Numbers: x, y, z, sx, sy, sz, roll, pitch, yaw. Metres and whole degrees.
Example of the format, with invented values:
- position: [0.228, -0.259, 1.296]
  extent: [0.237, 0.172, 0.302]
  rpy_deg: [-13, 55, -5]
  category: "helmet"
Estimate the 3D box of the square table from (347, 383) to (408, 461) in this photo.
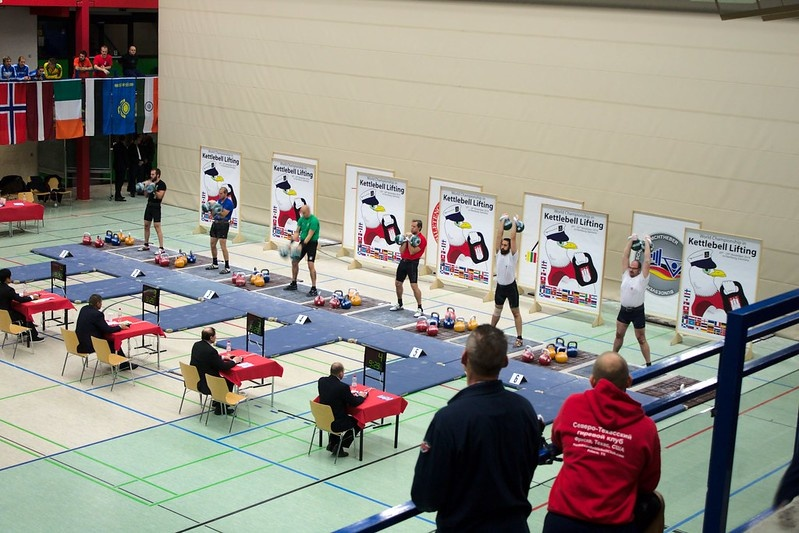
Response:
- position: [-0.539, 2.577, 12.680]
  extent: [1.099, 0.886, 1.119]
  rpy_deg: [-8, 15, -42]
  category: "square table"

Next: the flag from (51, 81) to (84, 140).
- position: [-11.990, -5.645, 25.736]
  extent: [0.286, 2.000, 1.112]
  rpy_deg: [9, 16, 35]
  category: "flag"

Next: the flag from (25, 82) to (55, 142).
- position: [-12.692, -5.456, 25.120]
  extent: [0.215, 1.898, 1.053]
  rpy_deg: [10, 16, 38]
  category: "flag"

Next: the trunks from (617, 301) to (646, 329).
- position: [4.958, 1.004, 15.300]
  extent: [0.726, 0.707, 0.434]
  rpy_deg: [4, 4, 32]
  category: "trunks"

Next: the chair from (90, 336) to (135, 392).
- position: [-5.959, 2.023, 14.671]
  extent: [0.695, 1.256, 0.828]
  rpy_deg: [12, 17, 27]
  category: "chair"

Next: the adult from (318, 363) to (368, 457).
- position: [-0.996, 2.462, 12.223]
  extent: [0.778, 1.724, 0.531]
  rpy_deg: [-2, 13, -7]
  category: "adult"

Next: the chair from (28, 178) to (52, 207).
- position: [-13.913, -2.867, 27.481]
  extent: [1.010, 1.234, 0.957]
  rpy_deg: [18, 19, 42]
  category: "chair"

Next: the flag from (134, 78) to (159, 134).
- position: [-9.941, -6.318, 27.983]
  extent: [0.388, 2.062, 0.951]
  rpy_deg: [10, 17, 39]
  category: "flag"

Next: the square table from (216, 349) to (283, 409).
- position: [-2.955, 1.961, 13.835]
  extent: [0.974, 0.877, 1.266]
  rpy_deg: [-8, 17, -38]
  category: "square table"

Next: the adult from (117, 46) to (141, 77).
- position: [-10.751, -8.113, 28.324]
  extent: [0.621, 1.215, 2.381]
  rpy_deg: [-5, 15, -20]
  category: "adult"

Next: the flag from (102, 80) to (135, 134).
- position: [-10.649, -6.010, 26.945]
  extent: [0.409, 1.960, 1.411]
  rpy_deg: [8, 15, 32]
  category: "flag"

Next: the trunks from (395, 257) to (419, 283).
- position: [0.190, 0.098, 18.515]
  extent: [0.639, 0.625, 0.372]
  rpy_deg: [7, 1, 28]
  category: "trunks"

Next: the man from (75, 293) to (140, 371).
- position: [-5.994, 1.073, 14.793]
  extent: [1.356, 1.825, 0.849]
  rpy_deg: [-16, 38, -39]
  category: "man"

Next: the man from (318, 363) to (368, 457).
- position: [-0.996, 2.462, 12.220]
  extent: [0.778, 1.724, 0.525]
  rpy_deg: [-2, 13, -7]
  category: "man"

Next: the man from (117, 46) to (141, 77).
- position: [-10.850, -8.203, 28.586]
  extent: [0.626, 1.263, 2.965]
  rpy_deg: [-5, 15, -20]
  category: "man"

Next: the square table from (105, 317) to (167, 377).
- position: [-5.801, 1.793, 15.188]
  extent: [0.972, 0.635, 1.133]
  rpy_deg: [14, 18, 40]
  category: "square table"

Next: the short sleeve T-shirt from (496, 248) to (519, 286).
- position: [2.459, 0.024, 16.433]
  extent: [0.416, 0.789, 0.278]
  rpy_deg: [-1, 13, -4]
  category: "short sleeve T-shirt"

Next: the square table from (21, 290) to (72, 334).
- position: [-8.023, 0.842, 16.130]
  extent: [1.022, 0.629, 1.175]
  rpy_deg: [-11, 22, -42]
  category: "square table"

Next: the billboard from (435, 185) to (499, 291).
- position: [1.875, -0.745, 19.916]
  extent: [2.513, 3.583, 0.163]
  rpy_deg: [10, 17, 39]
  category: "billboard"

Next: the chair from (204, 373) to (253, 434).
- position: [-3.254, 2.587, 13.353]
  extent: [0.657, 1.233, 0.806]
  rpy_deg: [12, 20, 30]
  category: "chair"
